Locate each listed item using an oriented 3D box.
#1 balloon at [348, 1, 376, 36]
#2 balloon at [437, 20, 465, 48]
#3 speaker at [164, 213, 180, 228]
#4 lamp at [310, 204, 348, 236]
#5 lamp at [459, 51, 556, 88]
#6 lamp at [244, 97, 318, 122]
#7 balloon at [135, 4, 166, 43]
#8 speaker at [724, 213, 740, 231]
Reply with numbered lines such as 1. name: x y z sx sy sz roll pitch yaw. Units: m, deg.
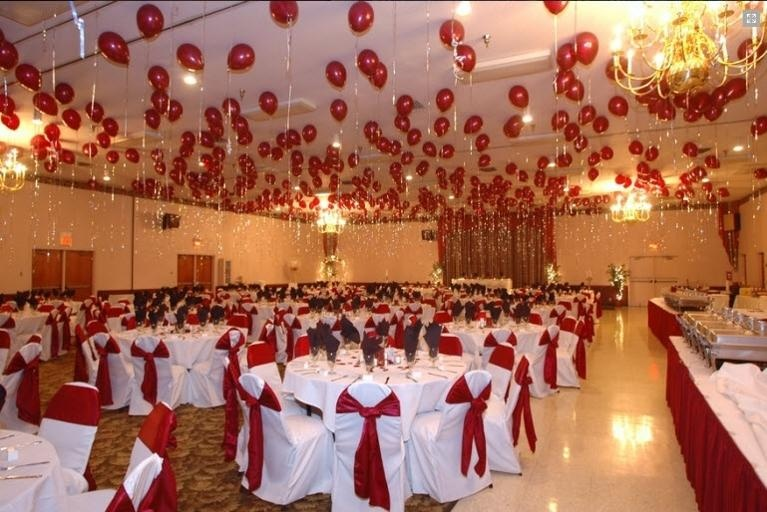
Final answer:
1. balloon: -0.236 -3.080 6.920 0.340 0.474 0.370 1 2 8
2. balloon: 0.948 -3.120 7.227 0.321 0.454 0.303 -3 -4 7
3. speaker: -6.826 -1.098 17.003 0.426 0.487 0.466 -5 -2 7
4. lamp: -1.857 -1.466 17.885 1.077 0.806 1.132 -21 -19 25
5. lamp: 1.965 -2.981 8.194 1.417 0.200 0.460 -4 -5 14
6. lamp: -1.842 -2.655 9.609 1.202 0.300 0.830 -4 -6 14
7. balloon: -3.057 -3.091 6.807 0.301 0.487 0.278 0 -4 -30
8. speaker: 12.305 -1.177 18.308 0.330 0.715 0.489 7 -8 0
